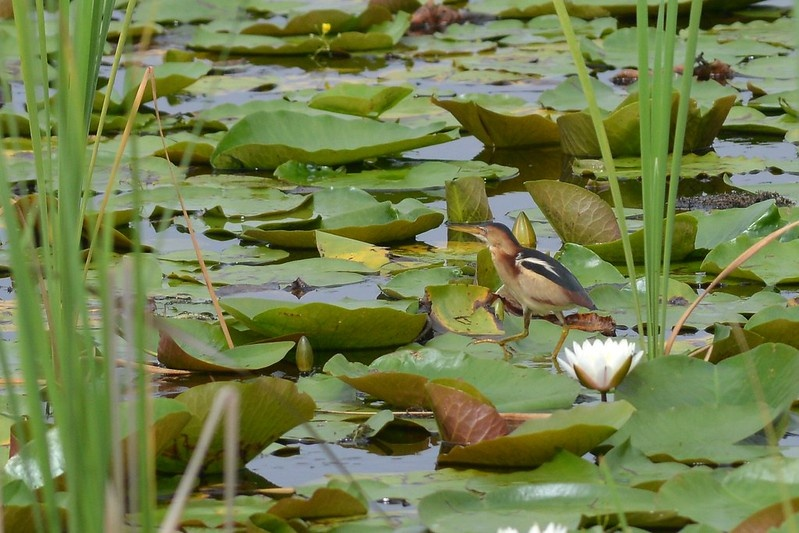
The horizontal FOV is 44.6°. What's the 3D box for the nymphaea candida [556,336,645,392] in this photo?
[{"bbox_3d":[0.465,0.226,2.240,0.191,0.130,0.110,-1,14,6],"label":"nymphaea candida"}]
